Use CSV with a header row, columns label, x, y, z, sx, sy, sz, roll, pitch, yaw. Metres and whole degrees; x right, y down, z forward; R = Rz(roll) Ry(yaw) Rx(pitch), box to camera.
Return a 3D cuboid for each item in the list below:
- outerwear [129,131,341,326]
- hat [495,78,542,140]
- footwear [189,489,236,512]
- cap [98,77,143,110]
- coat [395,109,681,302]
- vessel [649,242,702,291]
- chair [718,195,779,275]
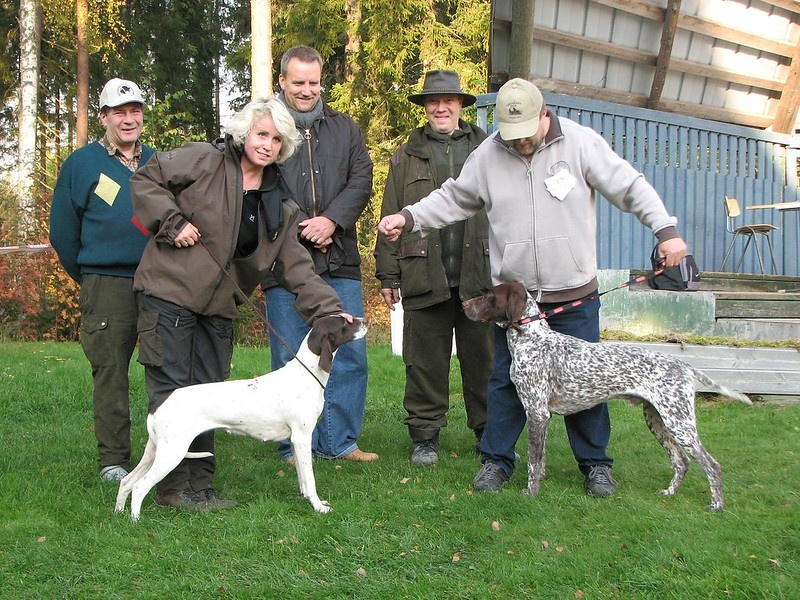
label,x,y,z,sx,sy,sz,roll,pitch,yaw
outerwear,-1.277,-0.547,6.434,1.764,1.411,0.771,16,5,-20
hat,0.913,-1.509,6.276,0.333,0.575,0.311,0,-37,23
footwear,-1.463,1.559,6.259,0.367,0.178,0.138,1,2,6
cap,-2.413,-1.775,6.937,0.248,0.213,0.343,-9,14,-32
coat,1.233,-0.845,7.462,2.181,1.680,0.699,-3,7,16
vessel,2.214,-0.273,6.426,0.344,0.417,0.304,-4,4,5
chair,5.500,-1.019,12.651,0.742,1.281,0.711,1,1,35
